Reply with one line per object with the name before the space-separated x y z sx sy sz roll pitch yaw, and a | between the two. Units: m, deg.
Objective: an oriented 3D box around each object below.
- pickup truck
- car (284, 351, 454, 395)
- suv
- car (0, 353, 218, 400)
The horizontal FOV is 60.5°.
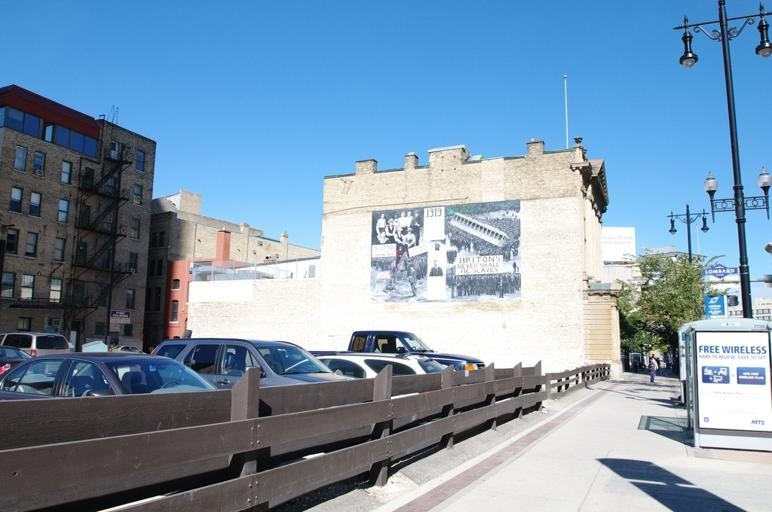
pickup truck | 0.249 3.431 21.979 5.129 1.624 2.013 -5 -9 20
car | -0.303 2.756 16.692 3.026 0.957 1.511 -1 -13 13
suv | -2.906 2.172 13.753 3.673 1.140 1.581 -4 -8 20
car | -4.736 1.918 11.143 3.143 0.895 1.344 -5 -10 16
